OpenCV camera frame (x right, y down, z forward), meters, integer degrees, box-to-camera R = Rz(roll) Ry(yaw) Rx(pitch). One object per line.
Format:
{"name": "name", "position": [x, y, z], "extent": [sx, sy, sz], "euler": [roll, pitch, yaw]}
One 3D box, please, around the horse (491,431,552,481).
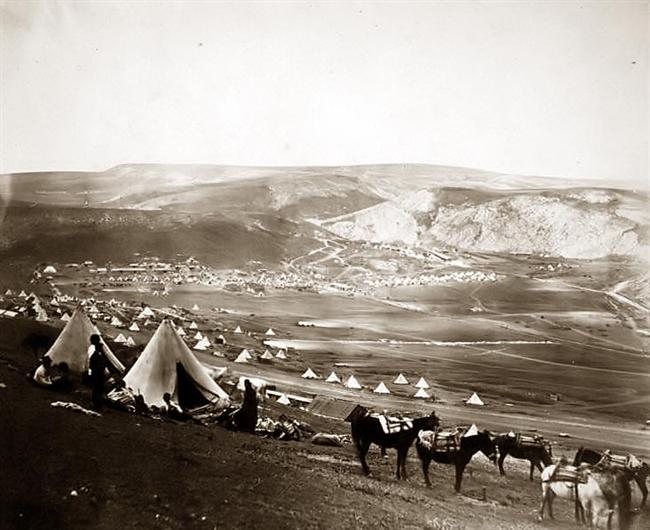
{"name": "horse", "position": [4.086, 3.888, 12.204], "extent": [1.448, 0.866, 0.444], "euler": [-3, -13, 41]}

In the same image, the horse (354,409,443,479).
{"name": "horse", "position": [1.260, 3.345, 11.364], "extent": [1.527, 1.181, 0.592], "euler": [2, 9, -10]}

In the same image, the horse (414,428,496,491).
{"name": "horse", "position": [2.496, 3.650, 11.396], "extent": [1.490, 1.195, 0.657], "euler": [3, -14, 28]}
